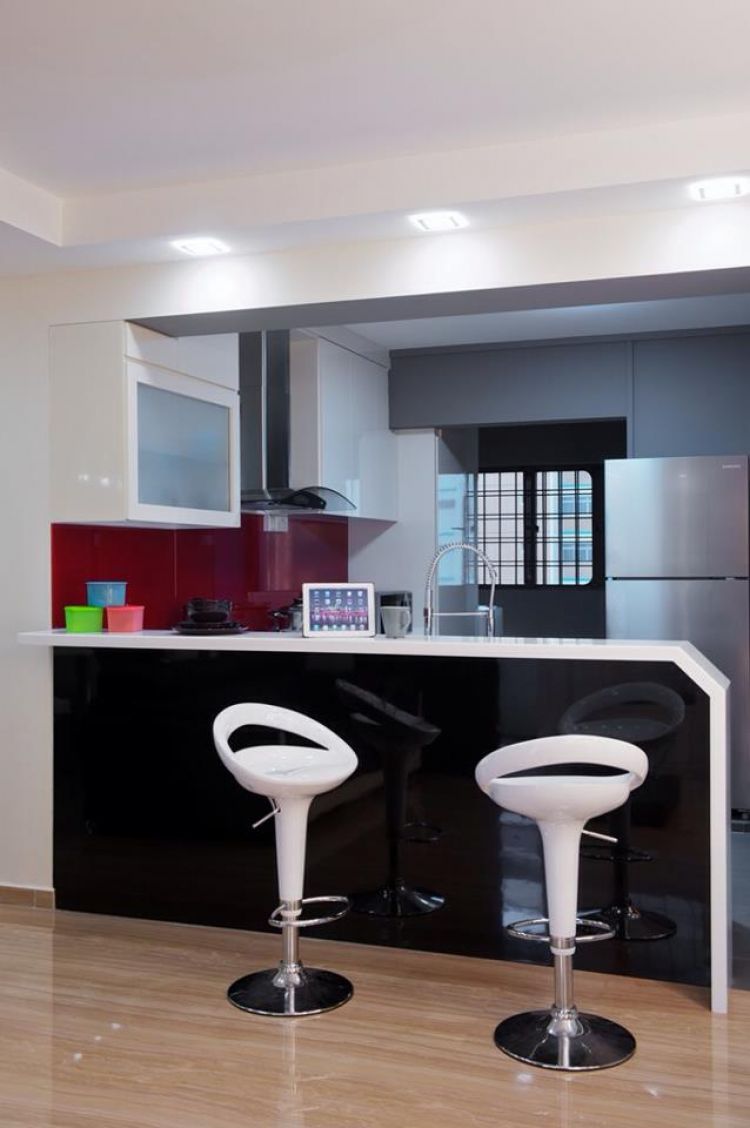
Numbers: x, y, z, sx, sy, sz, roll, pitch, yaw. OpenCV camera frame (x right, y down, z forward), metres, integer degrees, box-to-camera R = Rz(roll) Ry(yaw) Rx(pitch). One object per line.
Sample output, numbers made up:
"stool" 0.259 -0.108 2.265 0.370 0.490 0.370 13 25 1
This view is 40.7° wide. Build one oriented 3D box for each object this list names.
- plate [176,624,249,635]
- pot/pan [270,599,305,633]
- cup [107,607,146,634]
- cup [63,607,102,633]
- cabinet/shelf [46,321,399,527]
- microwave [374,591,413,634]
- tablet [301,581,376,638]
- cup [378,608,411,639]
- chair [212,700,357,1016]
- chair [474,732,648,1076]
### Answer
"plate" -0.588 0.236 3.726 0.267 0.039 0.254 -1 -1 -17
"pot/pan" -0.391 0.238 4.440 0.210 0.188 0.168 -1 3 -5
"cup" -0.943 0.213 3.840 0.092 0.073 0.118 1 3 26
"cup" -1.095 0.208 3.790 0.119 0.072 0.094 -1 2 -38
"cabinet/shelf" -0.600 -0.666 4.699 0.388 0.713 2.123 -2 -1 27
"microwave" 0.066 0.173 3.622 0.156 0.168 0.235 0 1 -6
"tablet" -0.129 0.159 3.461 0.207 0.148 0.015 1 -8 -11
"cup" 0.078 0.201 3.541 0.079 0.079 0.117 -9 -13 40
"chair" -0.260 0.853 3.124 0.401 0.746 0.780 -1 -1 -1
"chair" 0.493 0.869 2.686 0.449 0.777 0.392 1 -9 -7
